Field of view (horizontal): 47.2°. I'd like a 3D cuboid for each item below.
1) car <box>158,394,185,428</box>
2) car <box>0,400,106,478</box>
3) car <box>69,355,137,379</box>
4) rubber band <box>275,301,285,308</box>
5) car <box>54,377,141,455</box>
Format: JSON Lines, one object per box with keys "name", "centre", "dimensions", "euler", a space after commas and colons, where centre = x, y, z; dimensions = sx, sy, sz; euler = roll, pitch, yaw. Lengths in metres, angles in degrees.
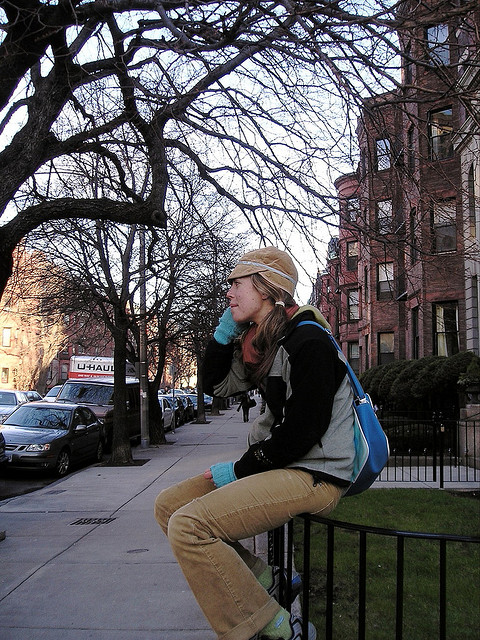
{"name": "car", "centre": [-3.733, 4.987, 30.266], "dimensions": [1.251, 1.184, 2.541], "euler": [-1, -10, 1]}
{"name": "car", "centre": [-4.663, 2.858, 13.304], "dimensions": [1.886, 1.669, 4.597], "euler": [-1, -7, -2]}
{"name": "car", "centre": [-6.050, 2.093, 24.096], "dimensions": [2.856, 1.559, 1.945], "euler": [-1, -5, 2]}
{"name": "rubber band", "centre": [0.163, -0.062, 2.226], "dimensions": [0.035, 0.027, 0.027], "euler": [-2, -7, 4]}
{"name": "car", "centre": [-4.520, 3.046, 18.232], "dimensions": [2.057, 1.729, 3.530], "euler": [-2, -10, 8]}
